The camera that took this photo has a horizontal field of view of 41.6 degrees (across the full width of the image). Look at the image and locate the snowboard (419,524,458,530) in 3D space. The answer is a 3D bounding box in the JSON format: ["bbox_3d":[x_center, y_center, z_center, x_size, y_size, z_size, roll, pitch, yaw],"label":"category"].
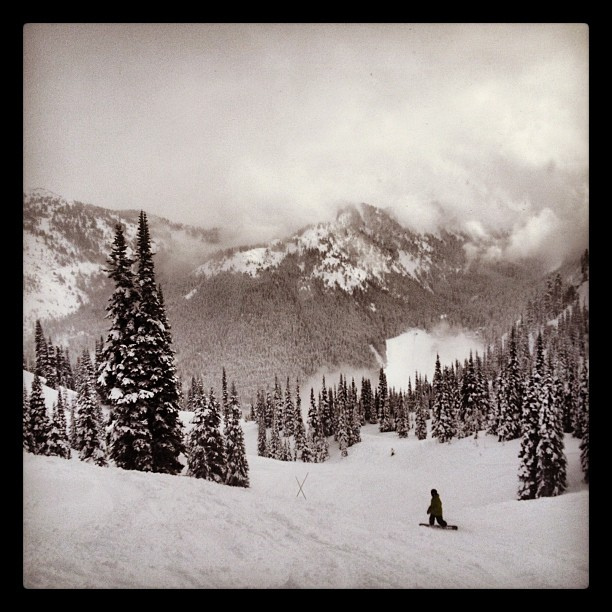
[{"bbox_3d":[4.838,8.040,29.369,1.274,0.158,0.270,-4,-9,22],"label":"snowboard"}]

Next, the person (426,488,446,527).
[{"bbox_3d":[4.718,7.363,29.179,0.800,1.532,0.581,2,5,36],"label":"person"}]
